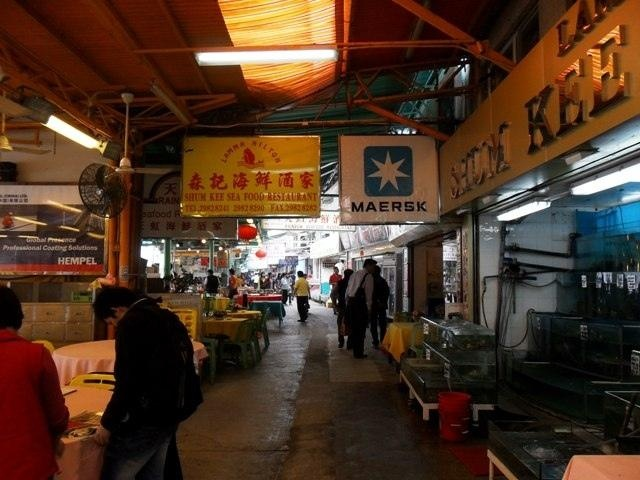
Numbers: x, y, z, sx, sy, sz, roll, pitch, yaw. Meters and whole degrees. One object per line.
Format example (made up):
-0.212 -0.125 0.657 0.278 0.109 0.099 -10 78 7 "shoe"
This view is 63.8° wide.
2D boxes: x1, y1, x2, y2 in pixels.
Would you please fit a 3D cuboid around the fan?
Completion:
-3.004 -0.697 7.186 0.274 0.744 0.702 -2 -1 29 "fan"

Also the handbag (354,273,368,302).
0.824 0.946 10.073 0.310 0.383 0.110 -1 -1 -34 "handbag"

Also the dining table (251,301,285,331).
-1.584 2.137 15.631 1.115 0.834 1.117 0 -1 -1 "dining table"

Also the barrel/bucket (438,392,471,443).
1.516 2.007 5.962 0.454 0.481 0.440 0 1 0 "barrel/bucket"

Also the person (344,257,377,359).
0.815 1.367 10.224 0.659 1.319 0.399 -1 -1 -32 "person"

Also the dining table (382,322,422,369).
1.405 1.755 8.457 0.508 0.515 1.211 -1 -1 1 "dining table"

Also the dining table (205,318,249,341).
-1.649 1.580 9.016 0.780 0.369 0.311 -1 -1 -7 "dining table"
